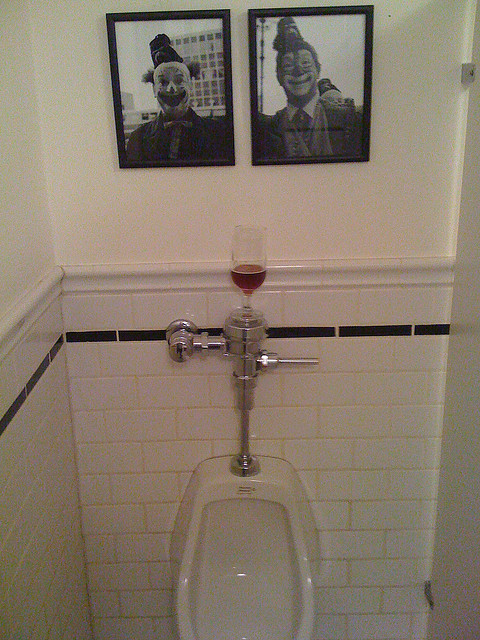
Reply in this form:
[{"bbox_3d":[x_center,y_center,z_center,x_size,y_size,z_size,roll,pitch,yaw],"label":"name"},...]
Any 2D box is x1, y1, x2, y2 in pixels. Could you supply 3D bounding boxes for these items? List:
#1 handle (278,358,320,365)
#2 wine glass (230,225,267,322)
[{"bbox_3d":[0.124,0.091,1.183,0.085,0.010,0.020,-2,18,2],"label":"handle"},{"bbox_3d":[0.016,-0.096,1.149,0.085,0.210,0.181,-2,17,2],"label":"wine glass"}]
